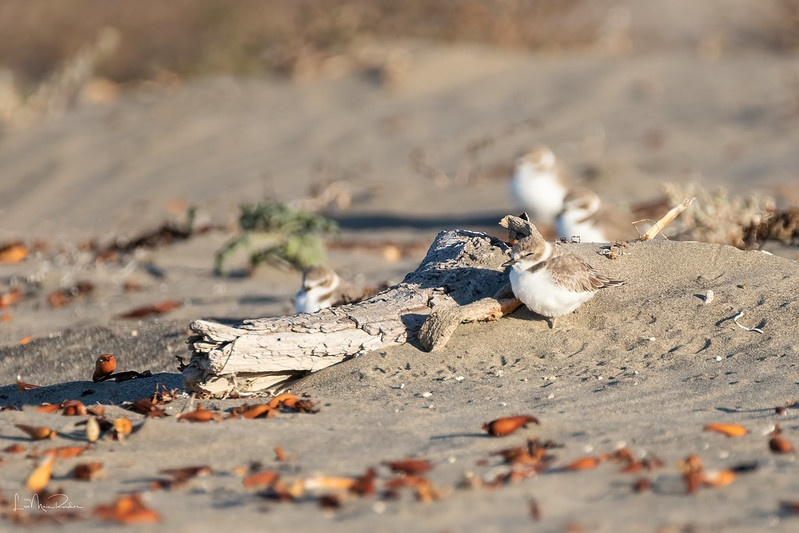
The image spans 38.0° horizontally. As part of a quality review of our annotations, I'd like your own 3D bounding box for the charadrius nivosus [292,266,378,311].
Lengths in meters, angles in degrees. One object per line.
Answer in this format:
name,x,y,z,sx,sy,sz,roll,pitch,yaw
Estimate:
charadrius nivosus,-0.906,0.276,15.218,0.918,0.589,0.527,-16,98,-33
